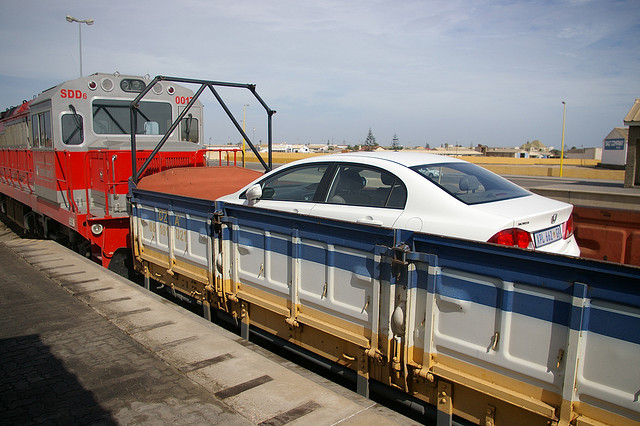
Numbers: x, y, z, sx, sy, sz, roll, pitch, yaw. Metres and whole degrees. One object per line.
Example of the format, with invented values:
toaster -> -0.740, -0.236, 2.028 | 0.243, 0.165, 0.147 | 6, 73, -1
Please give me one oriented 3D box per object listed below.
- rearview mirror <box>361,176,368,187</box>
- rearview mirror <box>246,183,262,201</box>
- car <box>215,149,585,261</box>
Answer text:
rearview mirror -> 0.637, -0.465, 5.979 | 0.084, 0.129, 0.038 | 4, 4, 24
rearview mirror -> -0.952, -0.292, 6.004 | 0.201, 0.235, 0.349 | -3, 12, -10
car -> 1.193, -0.188, 5.581 | 3.810, 1.208, 1.665 | 8, 15, 35
